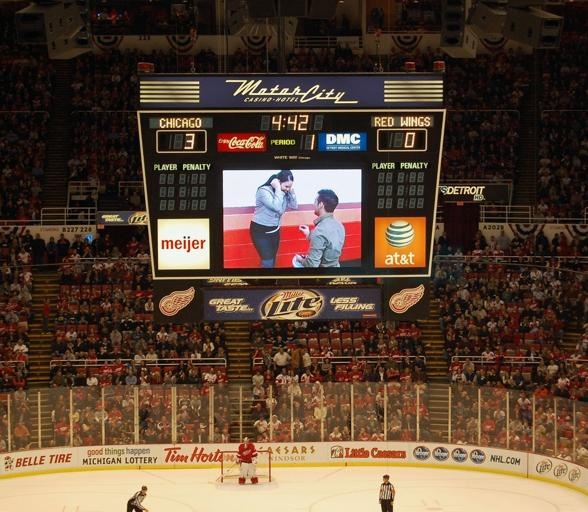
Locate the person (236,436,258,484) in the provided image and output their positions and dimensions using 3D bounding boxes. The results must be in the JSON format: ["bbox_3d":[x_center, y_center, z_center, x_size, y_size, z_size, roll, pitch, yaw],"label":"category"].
[{"bbox_3d":[-1.108,4.960,27.023,0.493,1.065,0.453,1,-1,-2],"label":"person"}]

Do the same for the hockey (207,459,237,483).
[{"bbox_3d":[-1.758,5.313,27.644,0.547,0.586,0.031,3,19,-6],"label":"hockey"}]
